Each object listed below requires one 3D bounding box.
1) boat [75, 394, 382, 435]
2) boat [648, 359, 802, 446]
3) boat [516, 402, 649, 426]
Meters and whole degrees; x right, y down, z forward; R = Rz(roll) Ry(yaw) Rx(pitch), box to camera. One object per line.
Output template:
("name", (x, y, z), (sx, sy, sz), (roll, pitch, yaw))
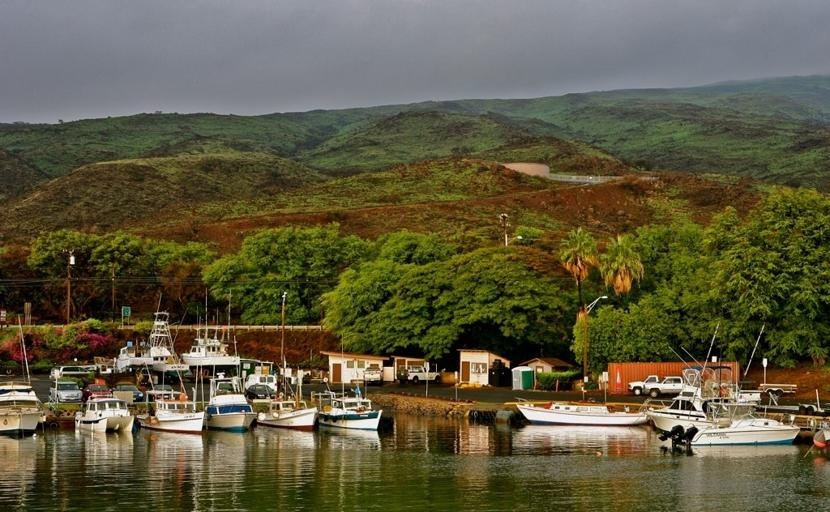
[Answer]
("boat", (-16.921, 17.833, 150.292), (39.064, 6.341, 18.431), (-4, -12, 21))
("boat", (37.916, 18.639, 145.946), (21.210, 8.863, 6.801), (-1, 2, 2))
("boat", (20.383, 19.471, 149.965), (19.418, 3.340, 4.740), (3, -8, 4))
